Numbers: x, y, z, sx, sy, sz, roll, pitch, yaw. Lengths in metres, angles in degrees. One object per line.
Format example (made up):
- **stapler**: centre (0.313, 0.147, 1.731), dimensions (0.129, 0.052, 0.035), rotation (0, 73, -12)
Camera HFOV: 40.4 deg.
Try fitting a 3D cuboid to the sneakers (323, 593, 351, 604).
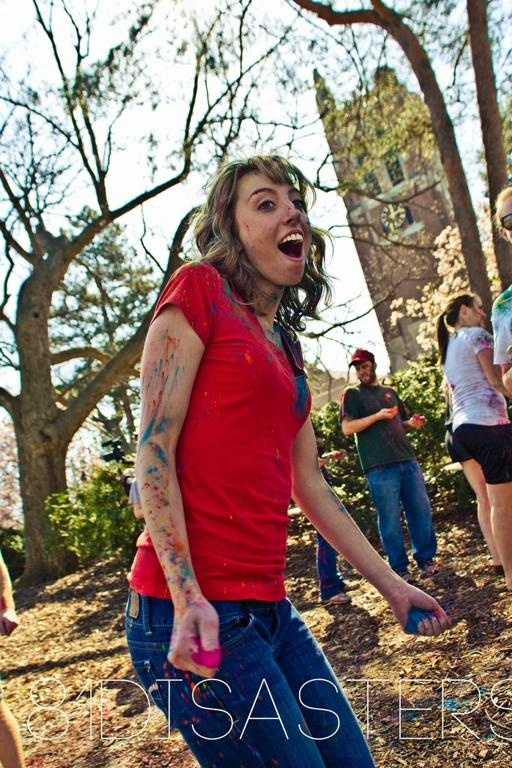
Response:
- **sneakers**: centre (0.633, 1.680, 5.440), dimensions (0.198, 0.054, 0.088), rotation (-15, -15, 40)
